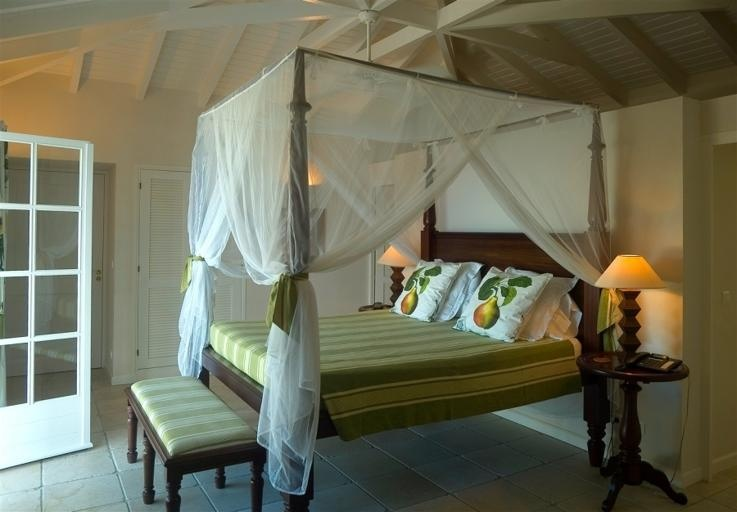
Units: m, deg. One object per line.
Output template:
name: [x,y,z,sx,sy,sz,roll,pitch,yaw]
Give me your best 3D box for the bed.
bed: [0.460,0.348,4.609,2.588,1.828,2.255,-4,6,-26]
